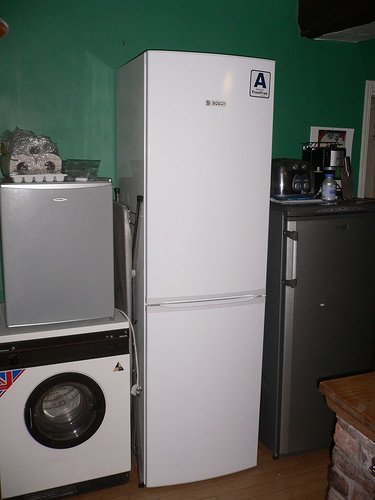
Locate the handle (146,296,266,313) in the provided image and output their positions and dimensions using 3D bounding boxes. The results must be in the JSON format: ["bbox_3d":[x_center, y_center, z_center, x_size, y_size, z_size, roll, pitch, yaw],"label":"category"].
[{"bbox_3d":[0.075,0.230,2.036,0.331,0.064,0.252,0,8,-17],"label":"handle"}]

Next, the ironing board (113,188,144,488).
[{"bbox_3d":[-0.306,0.409,2.199,0.192,1.238,0.299,-2,12,-15],"label":"ironing board"}]

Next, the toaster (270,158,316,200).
[{"bbox_3d":[0.580,-0.395,2.543,0.264,0.240,0.220,-6,11,-29],"label":"toaster"}]

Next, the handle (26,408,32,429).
[{"bbox_3d":[-0.685,0.723,1.883,0.021,0.091,0.008,-4,8,-21],"label":"handle"}]

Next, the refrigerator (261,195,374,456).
[{"bbox_3d":[0.732,0.434,2.424,0.616,1.423,0.273,-5,8,-22],"label":"refrigerator"}]

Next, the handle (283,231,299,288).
[{"bbox_3d":[0.512,0.047,2.169,0.076,0.284,0.042,0,7,15],"label":"handle"}]
